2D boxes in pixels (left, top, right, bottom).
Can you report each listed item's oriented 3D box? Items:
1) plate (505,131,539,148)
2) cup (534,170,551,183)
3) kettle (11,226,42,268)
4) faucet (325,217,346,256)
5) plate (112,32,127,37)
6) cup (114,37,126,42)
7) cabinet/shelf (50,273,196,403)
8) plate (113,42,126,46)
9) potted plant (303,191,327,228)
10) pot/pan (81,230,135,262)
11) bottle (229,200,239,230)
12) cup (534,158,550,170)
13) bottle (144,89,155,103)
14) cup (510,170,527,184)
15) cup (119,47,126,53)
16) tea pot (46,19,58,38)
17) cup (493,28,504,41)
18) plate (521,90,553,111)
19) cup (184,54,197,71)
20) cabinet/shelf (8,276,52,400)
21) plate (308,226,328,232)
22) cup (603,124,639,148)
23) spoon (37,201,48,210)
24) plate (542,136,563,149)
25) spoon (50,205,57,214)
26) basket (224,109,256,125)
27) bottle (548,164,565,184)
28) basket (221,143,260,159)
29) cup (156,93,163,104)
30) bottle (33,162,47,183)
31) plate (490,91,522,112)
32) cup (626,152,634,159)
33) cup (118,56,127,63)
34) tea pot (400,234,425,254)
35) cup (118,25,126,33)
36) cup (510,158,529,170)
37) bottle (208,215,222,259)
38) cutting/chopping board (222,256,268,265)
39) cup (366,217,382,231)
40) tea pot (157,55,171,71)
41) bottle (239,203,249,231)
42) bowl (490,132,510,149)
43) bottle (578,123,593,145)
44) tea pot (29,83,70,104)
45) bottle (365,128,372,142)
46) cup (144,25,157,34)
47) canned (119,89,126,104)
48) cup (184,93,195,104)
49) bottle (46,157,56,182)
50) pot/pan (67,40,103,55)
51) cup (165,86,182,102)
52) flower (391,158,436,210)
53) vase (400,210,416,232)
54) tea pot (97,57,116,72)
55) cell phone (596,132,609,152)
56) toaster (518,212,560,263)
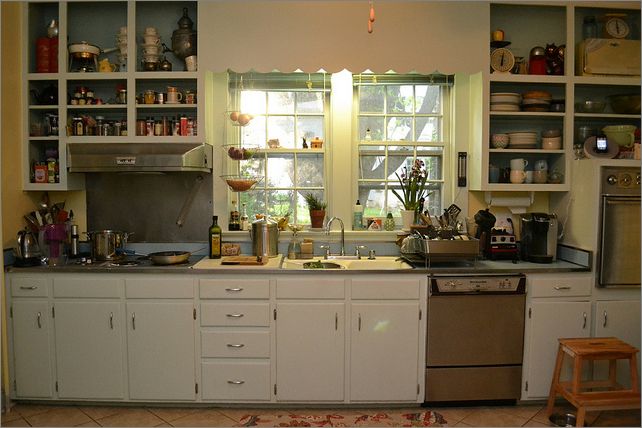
[{"bbox_3d":[2.060,-0.747,6.191,0.208,0.124,0.205,-2,4,-44],"label":"plate"},{"bbox_3d":[2.246,-0.390,6.161,0.143,0.107,0.116,-2,-1,35],"label":"cup"},{"bbox_3d":[-2.914,0.333,5.918,0.287,0.341,0.265,-4,3,-17],"label":"kettle"},{"bbox_3d":[0.133,0.229,6.279,0.198,0.414,0.304,0,6,2],"label":"faucet"},{"bbox_3d":[-2.042,-1.814,6.070,0.140,0.041,0.031,2,6,22],"label":"plate"},{"bbox_3d":[-2.037,-1.763,6.078,0.072,0.062,0.066,0,13,0],"label":"cup"},{"bbox_3d":[-1.871,1.131,5.745,1.251,1.107,0.478,0,-3,-2],"label":"cabinet/shelf"},{"bbox_3d":[-2.047,-1.718,6.088,0.148,0.046,0.041,4,7,32],"label":"plate"},{"bbox_3d":[-0.071,-0.039,6.425,0.231,0.359,0.307,0,6,-1],"label":"potted plant"},{"bbox_3d":[-2.182,0.326,6.090,0.520,0.251,0.363,-2,1,-34],"label":"pot/pan"},{"bbox_3d":[-0.938,0.017,6.383,0.112,0.308,0.089,-1,6,-4],"label":"bottle"},{"bbox_3d":[2.270,-0.521,6.222,0.120,0.101,0.117,5,-1,0],"label":"cup"},{"bbox_3d":[-1.745,-1.190,6.056,0.137,0.132,0.091,0,0,-19],"label":"bottle"},{"bbox_3d":[2.019,-0.386,6.175,0.168,0.134,0.119,0,6,-3],"label":"cup"},{"bbox_3d":[-2.020,-1.669,6.089,0.061,0.057,0.058,1,3,0],"label":"cup"},{"bbox_3d":[-2.736,-1.895,6.086,0.103,0.199,0.182,-3,7,-25],"label":"tea pot"},{"bbox_3d":[1.796,-1.842,6.181,0.109,0.119,0.094,2,6,22],"label":"cup"},{"bbox_3d":[2.183,-1.129,6.131,0.231,0.137,0.234,0,0,41],"label":"plate"},{"bbox_3d":[-1.314,-1.518,6.064,0.153,0.149,0.151,0,-2,0],"label":"cup"},{"bbox_3d":[-2.802,1.190,5.770,0.415,1.164,0.101,0,6,4],"label":"cabinet/shelf"},{"bbox_3d":[-0.055,0.166,6.320,0.173,0.052,0.109,0,6,-3],"label":"plate"},{"bbox_3d":[3.034,-0.800,6.136,0.238,0.150,0.263,-7,15,-42],"label":"cup"},{"bbox_3d":[-2.846,-0.084,6.126,0.076,0.058,0.072,-16,-27,-3],"label":"spoon"},{"bbox_3d":[2.350,-0.721,6.155,0.144,0.100,0.141,1,0,-19],"label":"plate"},{"bbox_3d":[-2.780,-0.048,6.232,0.073,0.084,0.060,-3,7,-26],"label":"spoon"},{"bbox_3d":[-0.838,-0.962,6.059,0.217,0.088,0.206,1,1,-8],"label":"basket"},{"bbox_3d":[2.382,-0.419,6.202,0.118,0.197,0.190,-2,6,-13],"label":"bottle"},{"bbox_3d":[-0.787,-0.623,6.052,0.239,0.078,0.235,0,1,-39],"label":"basket"},{"bbox_3d":[-1.642,-1.177,6.082,0.065,0.106,0.091,-2,6,-17],"label":"cup"},{"bbox_3d":[-2.839,-0.414,6.049,0.144,0.183,0.038,-1,6,-5],"label":"bottle"},{"bbox_3d":[1.855,-1.147,6.186,0.225,0.125,0.222,0,2,-4],"label":"plate"},{"bbox_3d":[3.117,-0.595,6.097,0.067,0.065,0.058,-3,3,-17],"label":"cup"},{"bbox_3d":[-2.040,-1.591,6.138,0.083,0.037,0.083,0,0,0],"label":"cup"},{"bbox_3d":[0.903,0.310,6.002,0.088,0.213,0.339,-3,7,-26],"label":"tea pot"},{"bbox_3d":[-2.027,-1.868,6.090,0.079,0.054,0.077,0,-1,0],"label":"cup"},{"bbox_3d":[2.037,-0.520,6.232,0.155,0.115,0.118,0,-2,-6],"label":"cup"},{"bbox_3d":[-1.110,0.238,6.184,0.122,0.433,0.126,0,6,0],"label":"bottle"},{"bbox_3d":[-0.769,0.452,6.022,0.454,0.069,0.360,0,6,2],"label":"cutting/chopping board"},{"bbox_3d":[0.555,0.110,6.442,0.155,0.122,0.140,0,6,5],"label":"cup"},{"bbox_3d":[-1.615,-1.557,6.170,0.125,0.182,0.246,-2,6,-14],"label":"tea pot"},{"bbox_3d":[-0.838,0.026,6.459,0.083,0.278,0.222,-1,6,-8],"label":"bottle"},{"bbox_3d":[1.807,-0.748,6.145,0.160,0.119,0.153,-1,3,0],"label":"bowl"},{"bbox_3d":[2.703,-0.835,6.200,0.164,0.182,0.172,2,1,8],"label":"bottle"},{"bbox_3d":[-2.779,-1.213,6.111,0.321,0.210,0.201,4,2,-21],"label":"tea pot"},{"bbox_3d":[0.496,-0.873,6.544,0.046,0.130,0.078,5,8,39],"label":"bottle"},{"bbox_3d":[-1.746,-1.886,6.121,0.091,0.059,0.089,-1,0,0],"label":"cup"},{"bbox_3d":[-2.019,-1.199,6.075,0.067,0.150,0.074,-3,7,-27],"label":"canned"},{"bbox_3d":[-1.341,-1.172,6.097,0.107,0.132,0.105,-1,-1,0],"label":"cup"},{"bbox_3d":[-2.727,-0.444,6.069,0.099,0.240,0.068,-3,6,-23],"label":"bottle"},{"bbox_3d":[-2.431,-1.702,6.119,0.215,0.076,0.210,-2,0,34],"label":"pot/pan"},{"bbox_3d":[-1.516,-1.211,6.079,0.146,0.175,0.129,-1,6,-10],"label":"cup"},{"bbox_3d":[0.944,-0.304,6.363,0.450,0.656,0.540,4,8,35],"label":"flower"},{"bbox_3d":[0.863,0.066,6.314,0.195,0.222,0.203,-1,-1,-2],"label":"vase"},{"bbox_3d":[-2.229,-1.522,6.152,0.197,0.187,0.134,0,1,-43],"label":"tea pot"},{"bbox_3d":[2.821,-0.719,6.069,0.114,0.184,0.171,5,-23,17],"label":"cell phone"},{"bbox_3d":[2.178,0.236,6.082,0.395,0.494,0.447,1,-2,15],"label":"toaster"}]
